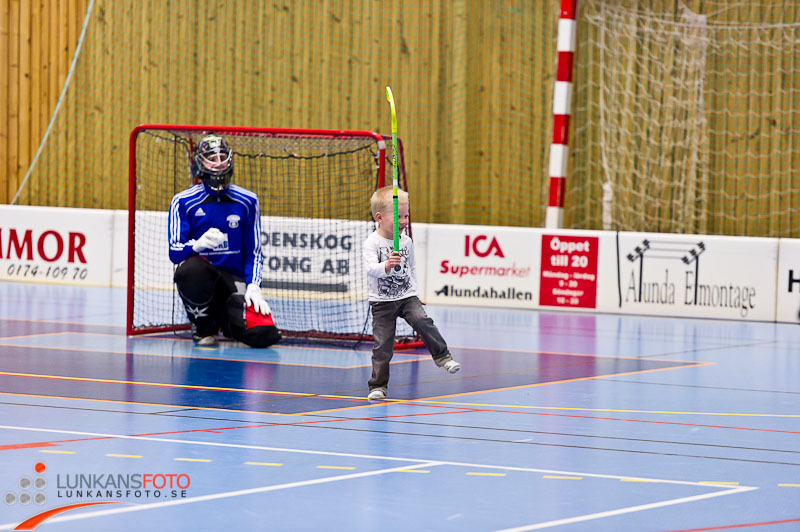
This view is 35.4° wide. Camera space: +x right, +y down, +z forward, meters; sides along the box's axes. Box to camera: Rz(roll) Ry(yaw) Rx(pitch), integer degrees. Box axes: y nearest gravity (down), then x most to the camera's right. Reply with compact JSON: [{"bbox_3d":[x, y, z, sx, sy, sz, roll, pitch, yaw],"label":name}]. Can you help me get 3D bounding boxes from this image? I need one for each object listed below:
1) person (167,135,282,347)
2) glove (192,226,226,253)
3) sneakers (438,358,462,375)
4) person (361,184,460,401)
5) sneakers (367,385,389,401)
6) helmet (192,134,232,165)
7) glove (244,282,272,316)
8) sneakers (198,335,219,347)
[{"bbox_3d":[-2.206,-0.275,15.527,1.258,2.591,0.704,0,10,-8],"label":"person"},{"bbox_3d":[-2.323,-0.303,15.380,0.389,0.331,0.289,1,10,-3],"label":"glove"},{"bbox_3d":[0.527,1.025,12.957,0.161,0.118,0.271,7,0,2],"label":"sneakers"},{"bbox_3d":[0.053,0.281,13.084,0.859,2.154,0.886,0,10,-6],"label":"person"},{"bbox_3d":[-0.197,1.308,13.016,0.281,0.131,0.163,-6,12,-36],"label":"sneakers"},{"bbox_3d":[-2.288,-1.324,15.593,0.376,0.417,0.469,-1,-31,-24],"label":"helmet"},{"bbox_3d":[-1.745,0.408,15.466,0.307,0.388,0.222,-1,10,-9],"label":"glove"},{"bbox_3d":[-2.409,0.941,15.771,0.120,0.094,0.217,0,4,-27],"label":"sneakers"}]
